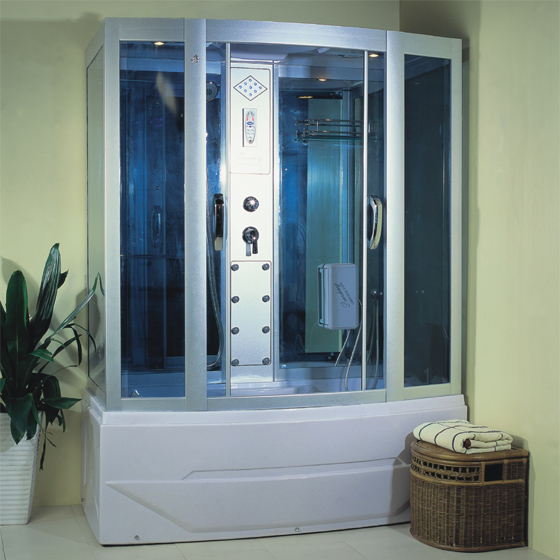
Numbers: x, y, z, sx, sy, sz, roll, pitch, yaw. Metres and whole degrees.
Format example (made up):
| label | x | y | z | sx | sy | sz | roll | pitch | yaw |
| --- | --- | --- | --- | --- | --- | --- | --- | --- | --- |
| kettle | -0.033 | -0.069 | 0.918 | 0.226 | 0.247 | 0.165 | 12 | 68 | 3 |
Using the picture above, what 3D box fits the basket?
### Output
| label | x | y | z | sx | sy | sz | roll | pitch | yaw |
| --- | --- | --- | --- | --- | --- | --- | --- | --- | --- |
| basket | 0.848 | 0.916 | 2.608 | 0.377 | 0.432 | 0.450 | 0 | 0 | -18 |
